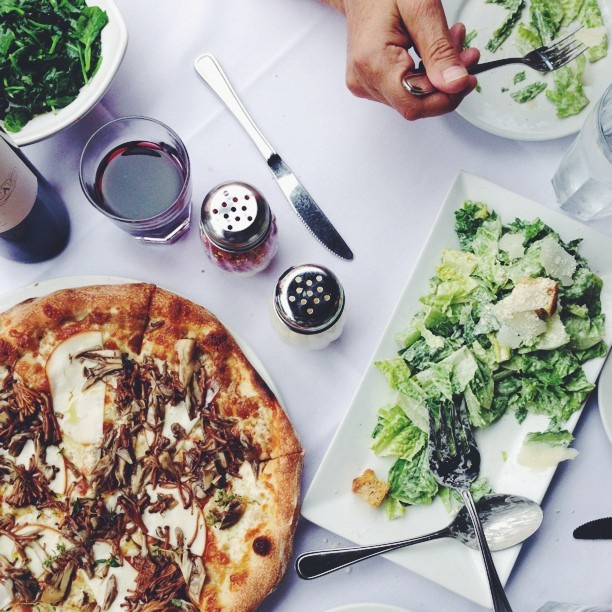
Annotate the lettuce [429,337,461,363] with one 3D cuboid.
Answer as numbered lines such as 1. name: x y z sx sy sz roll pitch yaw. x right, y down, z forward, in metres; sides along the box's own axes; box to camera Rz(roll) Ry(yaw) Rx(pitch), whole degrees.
1. lettuce: 0.292 0.092 1.470 0.036 0.017 0.071 39 74 24

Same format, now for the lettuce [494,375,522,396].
1. lettuce: 0.424 0.168 1.470 0.056 0.032 0.027 -22 -14 4

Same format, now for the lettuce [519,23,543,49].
1. lettuce: 0.496 -0.603 1.527 0.041 0.064 0.016 -44 16 11

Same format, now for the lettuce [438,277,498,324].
1. lettuce: 0.351 -0.034 1.523 0.159 0.087 0.111 -2 33 6

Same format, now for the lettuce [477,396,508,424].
1. lettuce: 0.392 0.215 1.461 0.062 0.044 0.021 -49 -23 14

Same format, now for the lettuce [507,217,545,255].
1. lettuce: 0.477 -0.159 1.477 0.054 0.070 0.016 -23 55 3

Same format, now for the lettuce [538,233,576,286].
1. lettuce: 0.522 -0.095 1.455 0.067 0.115 0.050 -24 14 -29

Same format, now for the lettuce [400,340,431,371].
1. lettuce: 0.230 0.109 1.463 0.055 0.055 0.015 -40 3 -9

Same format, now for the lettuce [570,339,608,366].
1. lettuce: 0.597 0.095 1.453 0.053 0.050 0.020 -11 37 16

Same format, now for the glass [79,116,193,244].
1. glass: -0.317 -0.261 1.471 0.216 0.235 0.251 -26 48 -29

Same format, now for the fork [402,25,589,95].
1. fork: 0.393 -0.511 1.433 0.453 0.063 0.053 -21 -9 -11

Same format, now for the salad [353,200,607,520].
1. salad: 0.372 0.135 1.451 0.424 0.699 0.115 7 -3 4

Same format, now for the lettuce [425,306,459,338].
1. lettuce: 0.293 0.029 1.501 0.071 0.061 0.033 24 39 -6

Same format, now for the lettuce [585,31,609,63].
1. lettuce: 0.634 -0.568 1.504 0.050 0.052 0.013 5 6 -1

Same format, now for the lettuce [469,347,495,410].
1. lettuce: 0.360 0.151 1.448 0.049 0.138 0.014 2 38 40

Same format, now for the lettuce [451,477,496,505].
1. lettuce: 0.347 0.383 1.444 0.088 0.047 0.015 -21 5 -25

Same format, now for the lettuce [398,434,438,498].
1. lettuce: 0.226 0.334 1.434 0.089 0.104 0.048 -17 12 0

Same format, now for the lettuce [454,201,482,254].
1. lettuce: 0.345 -0.175 1.491 0.063 0.104 0.039 -2 15 9

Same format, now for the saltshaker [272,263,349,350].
1. saltshaker: 0.006 -0.012 1.430 0.156 0.162 0.170 -4 39 -8

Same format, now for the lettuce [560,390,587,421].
1. lettuce: 0.558 0.207 1.432 0.042 0.067 0.016 20 -5 22

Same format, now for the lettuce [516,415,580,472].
1. lettuce: 0.488 0.286 1.435 0.115 0.091 0.054 -17 12 1

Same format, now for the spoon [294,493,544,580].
1. spoon: 0.240 0.491 1.431 0.536 0.142 0.077 -18 12 -1

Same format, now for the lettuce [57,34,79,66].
1. lettuce: -0.488 -0.535 1.423 0.039 0.064 0.013 -18 -2 -5
